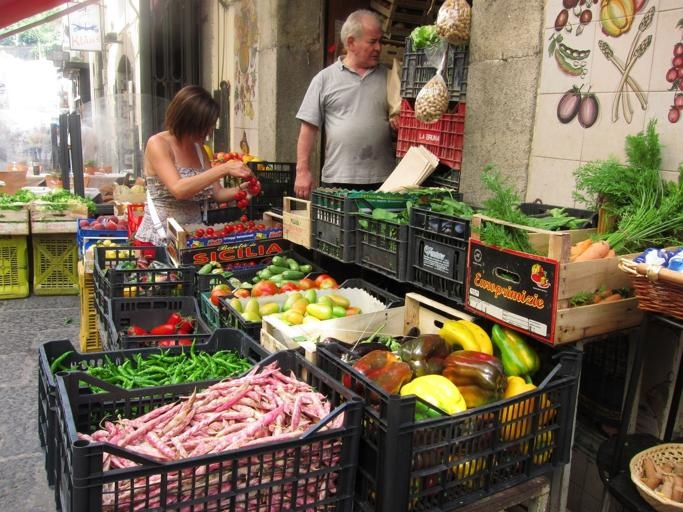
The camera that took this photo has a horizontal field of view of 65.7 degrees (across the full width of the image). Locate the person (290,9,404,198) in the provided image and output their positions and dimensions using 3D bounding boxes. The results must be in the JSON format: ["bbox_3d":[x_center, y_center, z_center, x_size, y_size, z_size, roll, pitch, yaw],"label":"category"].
[{"bbox_3d":[0.095,-1.022,5.368,1.095,2.568,0.862,-4,24,-10],"label":"person"}]

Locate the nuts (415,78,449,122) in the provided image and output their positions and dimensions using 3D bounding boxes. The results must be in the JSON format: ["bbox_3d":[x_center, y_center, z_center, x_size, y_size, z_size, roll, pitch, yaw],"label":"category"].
[{"bbox_3d":[0.665,-1.169,4.027,0.135,0.324,0.238,17,9,3],"label":"nuts"}]

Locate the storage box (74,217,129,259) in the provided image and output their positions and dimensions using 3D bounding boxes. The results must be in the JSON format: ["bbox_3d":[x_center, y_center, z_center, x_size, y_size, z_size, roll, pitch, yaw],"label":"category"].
[{"bbox_3d":[-2.799,-0.301,6.171,0.568,0.252,0.745,-3,23,-25],"label":"storage box"}]

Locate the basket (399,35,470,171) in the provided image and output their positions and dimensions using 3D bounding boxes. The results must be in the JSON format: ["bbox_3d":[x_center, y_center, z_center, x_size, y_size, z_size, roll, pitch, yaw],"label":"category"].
[{"bbox_3d":[0.750,-1.175,4.241,0.605,1.022,0.342,14,20,42],"label":"basket"}]

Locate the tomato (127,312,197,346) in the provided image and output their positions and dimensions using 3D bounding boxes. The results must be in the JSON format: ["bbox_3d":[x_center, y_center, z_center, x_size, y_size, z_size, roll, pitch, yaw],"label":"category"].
[{"bbox_3d":[-1.105,0.474,3.315,0.324,0.187,0.392,-8,16,-25],"label":"tomato"}]

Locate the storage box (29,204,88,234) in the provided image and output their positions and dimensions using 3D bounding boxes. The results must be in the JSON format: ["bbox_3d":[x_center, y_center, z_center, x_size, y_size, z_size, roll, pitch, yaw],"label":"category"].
[{"bbox_3d":[-3.849,-0.585,7.299,0.717,0.422,0.565,-3,16,-18],"label":"storage box"}]

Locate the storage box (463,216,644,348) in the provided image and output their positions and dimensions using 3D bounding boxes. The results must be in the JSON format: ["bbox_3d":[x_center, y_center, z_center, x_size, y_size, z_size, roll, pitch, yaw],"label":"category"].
[{"bbox_3d":[1.027,0.120,2.596,0.637,0.515,0.639,-1,10,-26],"label":"storage box"}]

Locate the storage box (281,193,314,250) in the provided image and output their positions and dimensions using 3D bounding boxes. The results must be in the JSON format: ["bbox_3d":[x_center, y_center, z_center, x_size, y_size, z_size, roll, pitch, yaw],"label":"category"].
[{"bbox_3d":[-0.313,-0.273,4.367,0.224,0.494,0.298,-7,15,-27],"label":"storage box"}]

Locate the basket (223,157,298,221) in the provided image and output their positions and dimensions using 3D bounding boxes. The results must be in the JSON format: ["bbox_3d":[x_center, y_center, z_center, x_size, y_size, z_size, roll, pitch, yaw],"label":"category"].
[{"bbox_3d":[-0.842,-0.814,6.156,0.522,0.700,0.942,0,8,-12],"label":"basket"}]

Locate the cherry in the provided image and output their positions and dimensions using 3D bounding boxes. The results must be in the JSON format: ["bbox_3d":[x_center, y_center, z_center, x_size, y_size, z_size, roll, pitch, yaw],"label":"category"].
[{"bbox_3d":[-1.024,-0.364,4.987,0.523,0.448,0.724,-3,12,-18],"label":"cherry"}]

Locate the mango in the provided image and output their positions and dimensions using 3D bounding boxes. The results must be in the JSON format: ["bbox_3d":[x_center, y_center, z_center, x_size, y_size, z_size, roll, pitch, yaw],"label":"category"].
[{"bbox_3d":[-0.289,0.321,3.403,0.669,0.181,0.474,-7,16,-28],"label":"mango"}]
